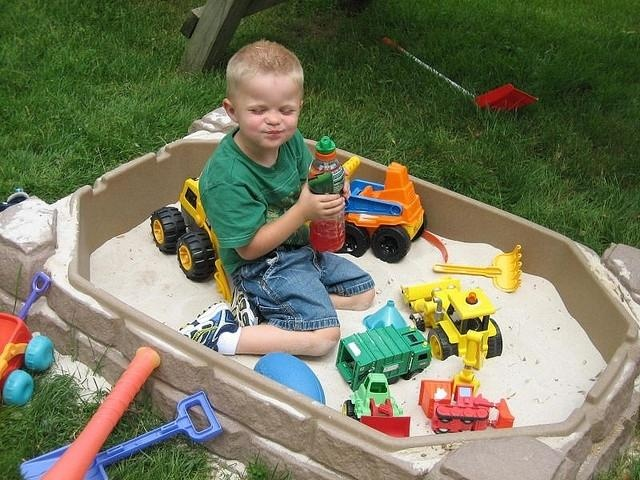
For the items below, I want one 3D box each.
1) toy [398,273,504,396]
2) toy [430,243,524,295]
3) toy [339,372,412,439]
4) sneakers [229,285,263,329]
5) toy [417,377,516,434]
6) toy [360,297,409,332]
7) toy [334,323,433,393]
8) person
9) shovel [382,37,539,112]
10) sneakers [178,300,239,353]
[{"bbox_3d":[0.599,0.380,2.914,0.274,0.324,0.544,-8,46,-21],"label":"toy"},{"bbox_3d":[0.832,0.149,3.281,0.373,0.109,0.253,0,65,11],"label":"toy"},{"bbox_3d":[0.232,0.657,2.640,0.179,0.199,0.291,8,25,-15],"label":"toy"},{"bbox_3d":[-0.362,0.310,3.017,0.104,0.084,0.245,-2,48,-38],"label":"sneakers"},{"bbox_3d":[0.597,0.666,2.596,0.258,0.116,0.211,-2,31,-2],"label":"toy"},{"bbox_3d":[0.305,0.359,3.028,0.141,0.080,0.152,5,15,-15],"label":"toy"},{"bbox_3d":[0.282,0.450,2.821,0.351,0.252,0.236,-15,42,-12],"label":"toy"},{"bbox_3d":[-0.194,-0.165,2.913,0.704,1.373,0.829,20,36,29],"label":"person"},{"bbox_3d":[1.042,-1.172,5.067,0.327,0.327,1.693,7,23,-43],"label":"shovel"},{"bbox_3d":[-0.460,0.377,2.898,0.325,0.173,0.129,14,18,4],"label":"sneakers"}]
